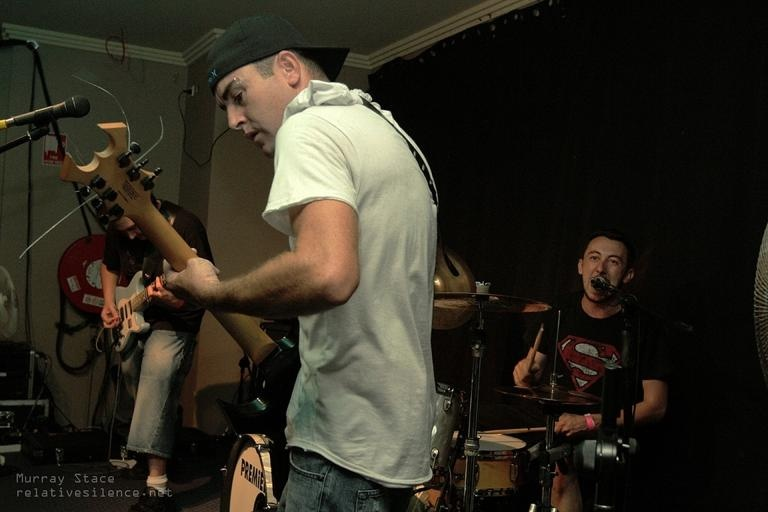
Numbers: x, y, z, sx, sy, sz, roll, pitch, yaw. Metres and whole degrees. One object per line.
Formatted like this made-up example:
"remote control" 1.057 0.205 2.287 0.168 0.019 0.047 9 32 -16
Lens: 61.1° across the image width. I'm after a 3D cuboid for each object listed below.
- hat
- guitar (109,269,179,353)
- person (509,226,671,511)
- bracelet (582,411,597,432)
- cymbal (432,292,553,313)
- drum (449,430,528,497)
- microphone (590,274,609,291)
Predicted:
"hat" -0.431 -0.833 2.744 0.510 0.259 0.321 -22 -2 -6
"guitar" -1.852 0.397 4.780 0.162 0.585 1.132 4 -25 -35
"person" 1.330 0.759 4.331 0.414 1.858 0.973 11 -11 -38
"bracelet" 1.322 1.072 4.203 0.058 0.097 0.096 -19 -26 18
"cymbal" 0.713 0.336 4.437 0.764 0.105 0.678 3 -10 6
"drum" 0.709 1.388 4.325 0.449 0.372 0.543 2 -10 12
"microphone" 1.131 0.140 3.422 0.096 0.070 0.103 1 -10 16
